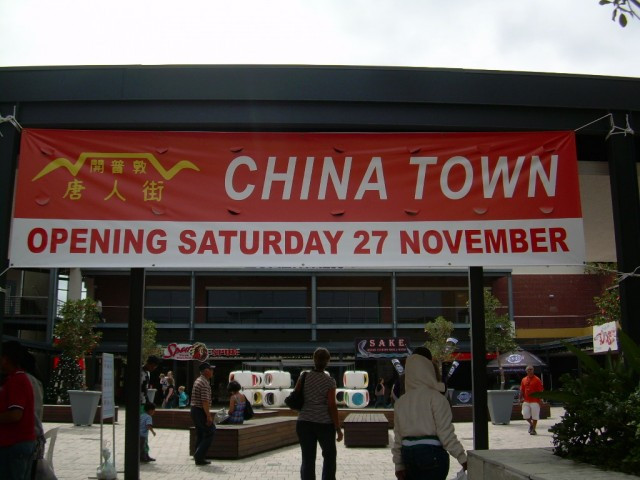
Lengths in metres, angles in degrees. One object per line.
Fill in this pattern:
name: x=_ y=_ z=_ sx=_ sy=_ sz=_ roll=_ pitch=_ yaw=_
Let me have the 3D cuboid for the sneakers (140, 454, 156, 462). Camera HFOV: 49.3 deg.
sneakers: x=-3.324 y=4.228 z=13.519 sx=0.320 sy=0.139 sz=0.108 roll=2 pitch=-2 yaw=-11

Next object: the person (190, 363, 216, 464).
person: x=-2.169 y=3.206 z=12.962 sx=0.420 sy=1.899 sz=1.282 roll=1 pitch=-13 yaw=-8

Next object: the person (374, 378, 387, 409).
person: x=2.433 y=6.118 z=27.843 sx=0.495 sy=1.083 sz=1.618 roll=-2 pitch=-13 yaw=4

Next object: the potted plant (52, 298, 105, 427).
potted plant: x=-8.639 y=3.849 z=24.767 sx=1.518 sy=3.818 sz=2.414 roll=2 pitch=-13 yaw=-17

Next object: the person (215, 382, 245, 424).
person: x=-1.776 y=3.297 z=14.115 sx=0.606 sy=0.849 sz=0.469 roll=-9 pitch=-15 yaw=30

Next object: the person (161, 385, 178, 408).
person: x=-5.809 y=6.140 z=27.234 sx=0.507 sy=0.801 sz=1.892 roll=1 pitch=-13 yaw=-12
